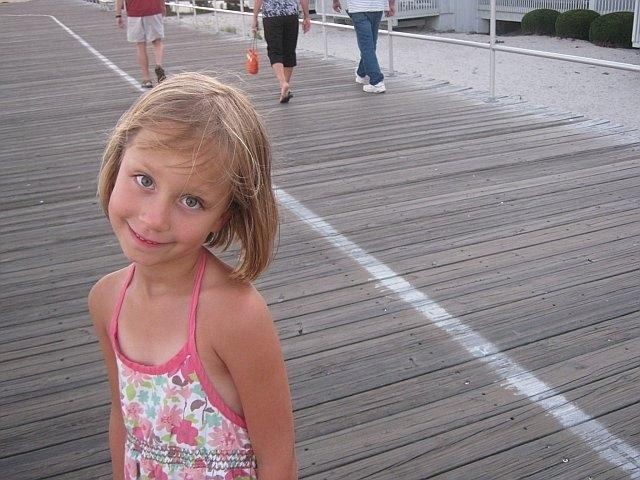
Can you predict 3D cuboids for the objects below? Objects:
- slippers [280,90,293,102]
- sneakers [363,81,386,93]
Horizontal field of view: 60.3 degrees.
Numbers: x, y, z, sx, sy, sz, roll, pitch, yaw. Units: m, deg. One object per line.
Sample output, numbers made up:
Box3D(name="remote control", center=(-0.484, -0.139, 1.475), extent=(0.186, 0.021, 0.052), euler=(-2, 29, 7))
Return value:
Box3D(name="slippers", center=(-0.420, -1.785, 6.883), extent=(0.088, 0.085, 0.237), euler=(1, 20, 5))
Box3D(name="sneakers", center=(0.667, -1.974, 7.109), extent=(0.325, 0.132, 0.132), euler=(16, 30, 37))
